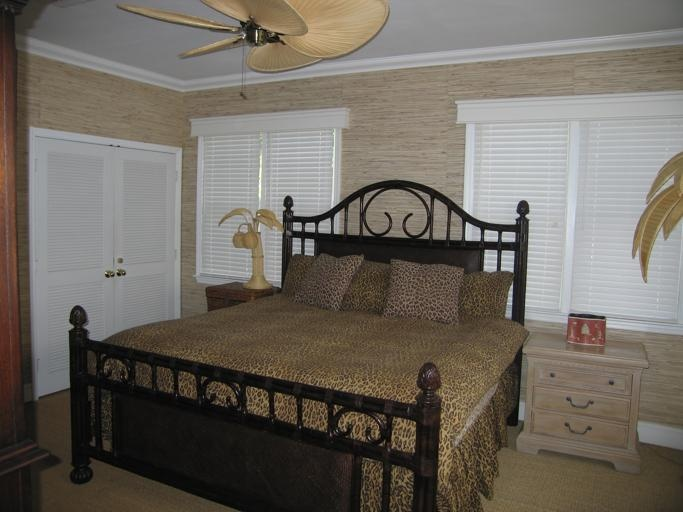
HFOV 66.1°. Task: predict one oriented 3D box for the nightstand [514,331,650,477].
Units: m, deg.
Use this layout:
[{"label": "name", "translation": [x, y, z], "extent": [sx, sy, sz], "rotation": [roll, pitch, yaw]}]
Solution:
[{"label": "nightstand", "translation": [1.763, 1.038, 3.903], "extent": [0.828, 0.792, 0.560], "rotation": [4, 9, 20]}]
